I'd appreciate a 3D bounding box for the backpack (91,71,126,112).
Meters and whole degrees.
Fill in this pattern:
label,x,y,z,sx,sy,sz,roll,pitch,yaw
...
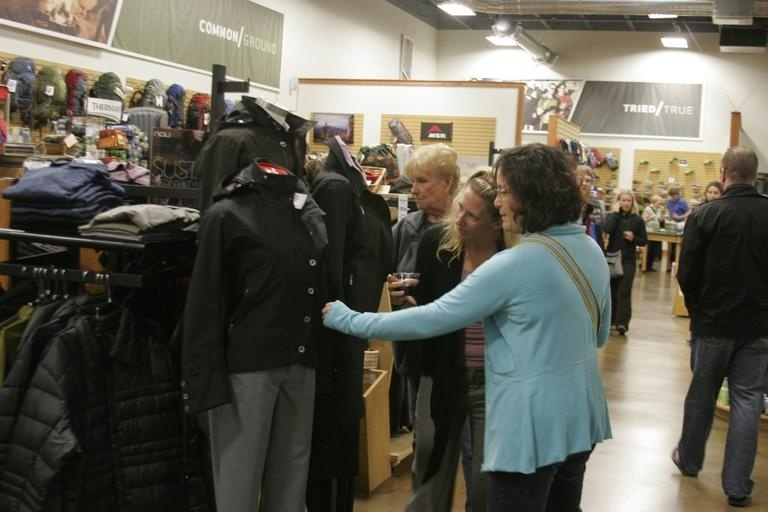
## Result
label,x,y,z,sx,sy,sz,roll,pitch,yaw
backpack,-3.755,-2.336,7.424,0.419,0.433,0.468,-2,9,-26

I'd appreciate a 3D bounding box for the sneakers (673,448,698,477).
label,x,y,z,sx,sy,sz,roll,pitch,yaw
sneakers,2.375,1.681,4.387,0.113,0.269,0.098,-6,-20,-21

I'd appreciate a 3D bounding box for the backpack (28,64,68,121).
label,x,y,z,sx,sy,sz,roll,pitch,yaw
backpack,-4.091,-1.958,6.672,0.405,0.669,0.286,7,-12,-38

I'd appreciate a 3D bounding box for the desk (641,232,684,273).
label,x,y,z,sx,sy,sz,roll,pitch,yaw
desk,6.830,-0.107,13.535,1.129,1.030,1.113,0,-2,19

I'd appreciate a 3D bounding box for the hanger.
label,x,y,z,sx,sy,sz,roll,pitch,yaw
hanger,-1.626,0.142,2.759,0.348,0.196,0.664,-4,9,-36

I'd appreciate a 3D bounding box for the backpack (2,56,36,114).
label,x,y,z,sx,sy,sz,roll,pitch,yaw
backpack,-4.409,-2.061,6.601,0.199,0.653,0.379,-12,-14,38
